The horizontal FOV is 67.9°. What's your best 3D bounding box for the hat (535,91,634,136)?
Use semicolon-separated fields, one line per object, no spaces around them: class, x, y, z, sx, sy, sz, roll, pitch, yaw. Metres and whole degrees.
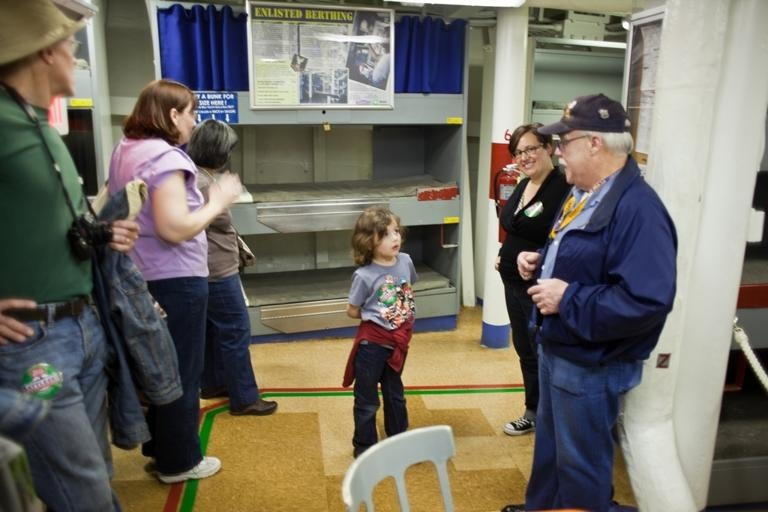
hat;1.000;-0.701;2.842;0.453;0.191;0.280;5;16;28

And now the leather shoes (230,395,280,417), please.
leather shoes;-0.953;1.081;4.216;0.350;0.143;0.129;-2;10;-12

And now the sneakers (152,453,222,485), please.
sneakers;-1.213;1.291;3.530;0.415;0.166;0.149;-7;19;-28

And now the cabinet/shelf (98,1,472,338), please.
cabinet/shelf;-0.776;-0.794;4.589;3.176;2.910;1.284;-3;10;-15

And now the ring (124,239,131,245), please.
ring;-1.083;-0.061;2.398;0.020;0.007;0.019;3;49;-4

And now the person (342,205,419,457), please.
person;-0.020;0.491;3.673;0.503;1.575;0.483;-6;16;-24

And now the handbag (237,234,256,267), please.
handbag;-1.112;-0.055;4.594;0.097;0.283;0.204;-24;24;-36

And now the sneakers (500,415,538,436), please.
sneakers;0.953;1.196;4.050;0.259;0.098;0.101;0;10;-5

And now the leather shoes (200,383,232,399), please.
leather shoes;-1.305;1.040;4.423;0.225;0.097;0.094;7;4;-16
